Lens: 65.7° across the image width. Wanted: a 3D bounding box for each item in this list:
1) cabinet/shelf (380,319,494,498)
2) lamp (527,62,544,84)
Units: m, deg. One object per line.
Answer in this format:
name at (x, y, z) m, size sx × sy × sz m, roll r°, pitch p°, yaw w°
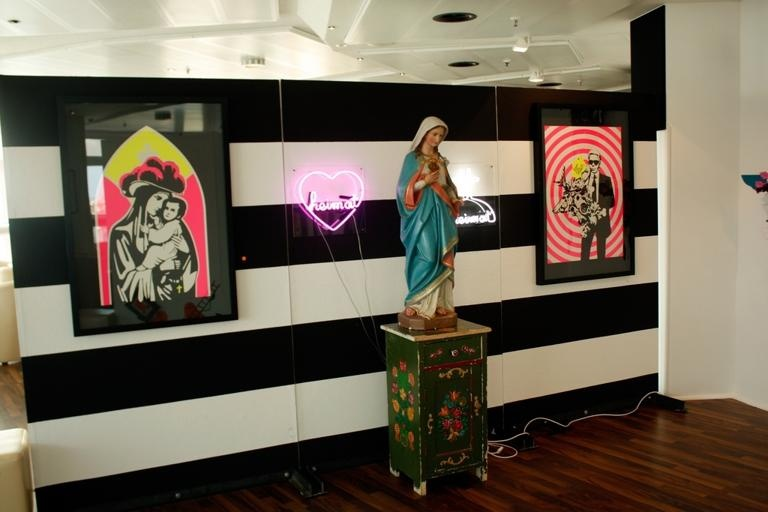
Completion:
cabinet/shelf at (0.477, 1.322, 5.379) m, size 0.739 × 1.350 × 0.693 m, roll -1°, pitch -2°, yaw -28°
lamp at (2.169, -2.610, 8.511) m, size 0.249 × 0.320 × 0.253 m, roll -10°, pitch 11°, yaw -26°
